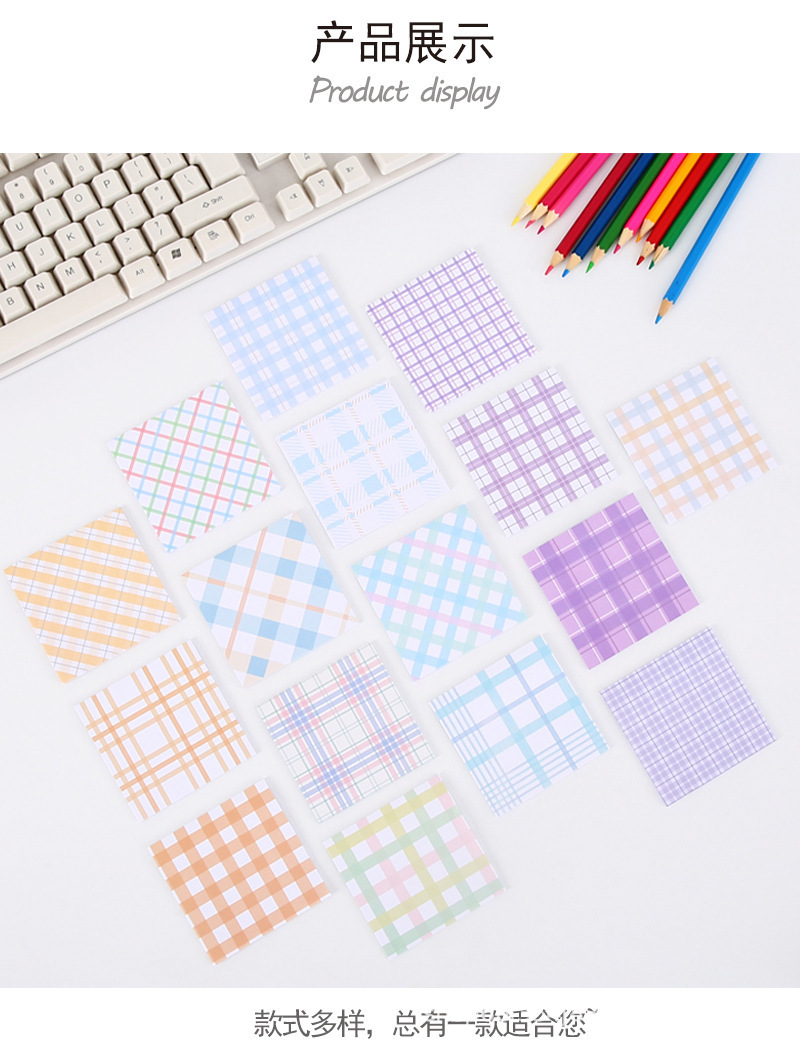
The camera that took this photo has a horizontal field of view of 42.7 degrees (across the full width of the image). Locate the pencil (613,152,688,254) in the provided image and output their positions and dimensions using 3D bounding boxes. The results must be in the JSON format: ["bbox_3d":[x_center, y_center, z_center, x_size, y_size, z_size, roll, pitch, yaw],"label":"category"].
[{"bbox_3d":[0.354,-0.461,1.450,0.023,0.162,0.018,30,-3,-18],"label":"pencil"}]

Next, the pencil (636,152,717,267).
[{"bbox_3d":[0.389,-0.449,1.453,0.021,0.182,0.020,35,-3,-24],"label":"pencil"}]

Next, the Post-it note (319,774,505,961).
[{"bbox_3d":[0.016,0.459,1.352,0.165,0.146,0.159,-20,48,-27],"label":"Post-it note"}]

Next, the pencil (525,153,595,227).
[{"bbox_3d":[0.223,-0.479,1.458,0.014,0.130,0.013,39,3,40],"label":"pencil"}]

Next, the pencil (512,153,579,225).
[{"bbox_3d":[0.204,-0.481,1.460,0.014,0.126,0.014,37,0,42],"label":"pencil"}]

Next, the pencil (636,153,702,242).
[{"bbox_3d":[0.377,-0.468,1.448,0.019,0.139,0.016,31,0,-31],"label":"pencil"}]

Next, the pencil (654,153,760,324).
[{"bbox_3d":[0.435,-0.401,1.458,0.023,0.277,0.015,30,-3,36],"label":"pencil"}]

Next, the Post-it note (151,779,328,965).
[{"bbox_3d":[-0.213,0.469,1.356,0.167,0.135,0.162,-21,49,-27],"label":"Post-it note"}]

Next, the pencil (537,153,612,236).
[{"bbox_3d":[0.245,-0.469,1.457,0.017,0.165,0.016,46,1,-10],"label":"pencil"}]

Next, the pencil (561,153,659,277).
[{"bbox_3d":[0.300,-0.438,1.455,0.022,0.199,0.021,30,4,-39],"label":"pencil"}]

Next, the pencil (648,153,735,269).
[{"bbox_3d":[0.412,-0.445,1.455,0.022,0.203,0.021,37,7,-30],"label":"pencil"}]
